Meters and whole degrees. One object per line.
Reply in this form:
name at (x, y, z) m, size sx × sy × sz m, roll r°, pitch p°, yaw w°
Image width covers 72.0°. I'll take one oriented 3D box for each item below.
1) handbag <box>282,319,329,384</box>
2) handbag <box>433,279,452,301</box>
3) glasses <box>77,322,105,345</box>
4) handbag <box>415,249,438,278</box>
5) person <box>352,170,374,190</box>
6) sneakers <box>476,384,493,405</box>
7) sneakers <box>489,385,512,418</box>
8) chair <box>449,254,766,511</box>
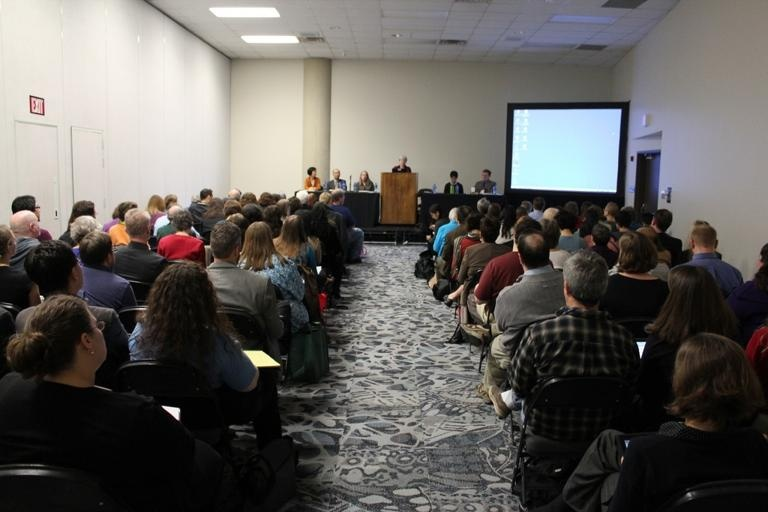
handbag at (-0.669, 0.891, 5.027) m, size 0.411 × 0.636 × 0.469 m, roll 0°, pitch 5°, yaw -5°
handbag at (0.810, 0.468, 7.327) m, size 0.245 × 0.379 × 0.871 m, roll 0°, pitch 3°, yaw 4°
glasses at (-1.251, 0.319, 2.251) m, size 0.093 × 0.034 × 0.097 m, roll 5°, pitch 3°, yaw 25°
handbag at (0.681, 0.142, 9.003) m, size 0.313 × 0.484 × 0.437 m, roll 4°, pitch 4°, yaw 2°
person at (-0.486, -1.957, 13.852) m, size 0.466 × 0.451 × 1.585 m, roll 1°, pitch 11°, yaw -1°
sneakers at (0.866, 1.185, 4.555) m, size 0.087 × 0.109 × 0.256 m, roll 0°, pitch 6°, yaw 1°
sneakers at (0.856, 1.082, 3.927) m, size 0.086 × 0.118 × 0.277 m, roll 8°, pitch 18°, yaw -4°
chair at (1.320, 0.740, 3.569) m, size 1.132 × 1.759 × 1.380 m, roll 0°, pitch 3°, yaw 0°
